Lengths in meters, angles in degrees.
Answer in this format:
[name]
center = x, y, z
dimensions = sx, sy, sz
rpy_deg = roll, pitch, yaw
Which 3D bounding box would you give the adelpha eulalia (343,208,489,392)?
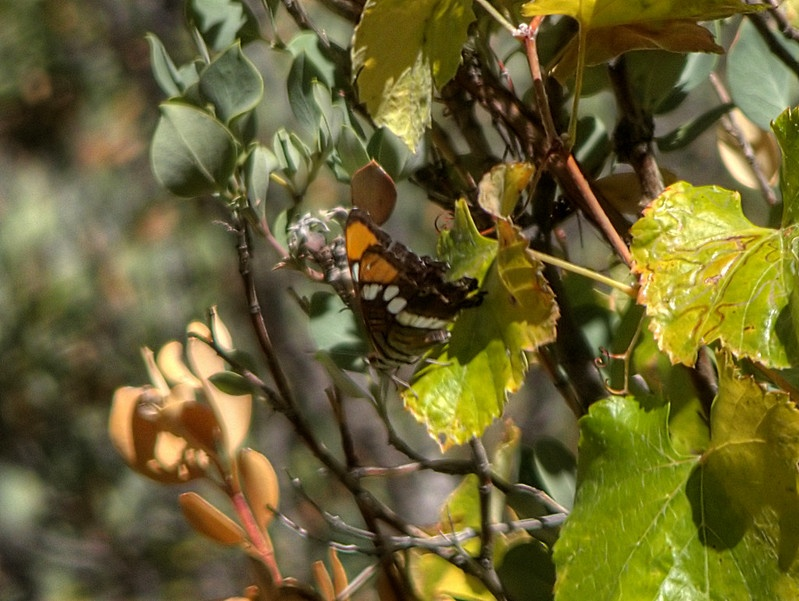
[adelpha eulalia]
center = 0.013, 0.005, 0.876
dimensions = 0.102, 0.131, 0.143
rpy_deg = -3, -4, -11
